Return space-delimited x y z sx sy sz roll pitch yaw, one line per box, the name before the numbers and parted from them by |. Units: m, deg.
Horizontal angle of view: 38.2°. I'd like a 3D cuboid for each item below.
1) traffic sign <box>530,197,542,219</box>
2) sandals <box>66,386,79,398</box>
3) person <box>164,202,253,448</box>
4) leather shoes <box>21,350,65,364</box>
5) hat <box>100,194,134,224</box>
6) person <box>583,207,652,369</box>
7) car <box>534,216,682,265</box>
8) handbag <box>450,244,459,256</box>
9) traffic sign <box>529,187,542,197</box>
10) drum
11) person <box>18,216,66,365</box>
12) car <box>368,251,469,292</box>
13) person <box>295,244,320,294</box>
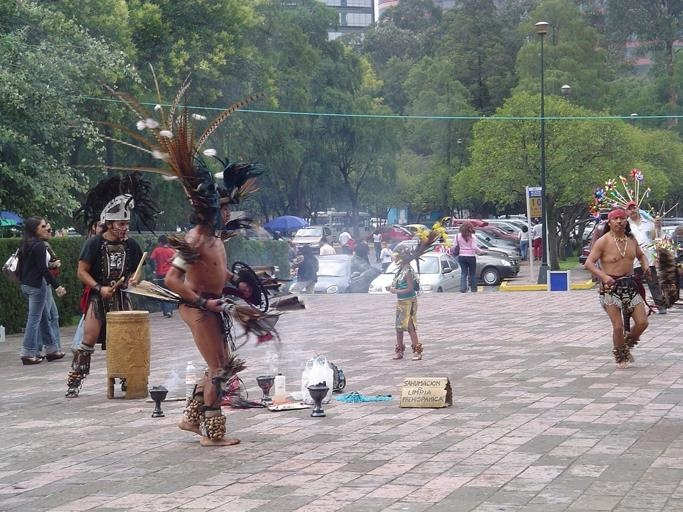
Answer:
traffic sign | 5.942 -1.497 29.854 0.759 0.668 0.116 -5 6 -36
sandals | -3.507 1.773 12.791 0.173 0.139 0.095 -2 -5 -13
person | -1.405 0.718 10.343 0.800 2.555 0.701 -3 -5 -5
leather shoes | -4.771 1.620 15.709 0.633 0.146 0.220 -3 3 -38
hat | -3.018 -0.648 13.229 0.475 0.400 0.432 -2 -4 -11
person | 4.011 0.437 14.131 0.872 2.254 0.585 -3 -5 -4
car | 6.652 -0.427 25.554 2.507 1.603 3.696 -2 -3 -6
handbag | 3.314 -0.150 28.397 0.265 0.235 0.295 -1 -7 9
traffic sign | 5.878 -1.949 29.915 0.573 0.290 0.294 -2 1 -24
drum | -2.742 1.287 12.681 0.542 1.122 0.253 -2 -5 -14
person | -4.792 0.545 15.573 0.651 2.326 0.928 -2 -5 -16
car | 2.373 0.477 28.413 1.423 0.786 2.133 -1 -1 27
person | -0.957 0.343 27.902 0.598 1.350 1.524 -3 -4 -2
